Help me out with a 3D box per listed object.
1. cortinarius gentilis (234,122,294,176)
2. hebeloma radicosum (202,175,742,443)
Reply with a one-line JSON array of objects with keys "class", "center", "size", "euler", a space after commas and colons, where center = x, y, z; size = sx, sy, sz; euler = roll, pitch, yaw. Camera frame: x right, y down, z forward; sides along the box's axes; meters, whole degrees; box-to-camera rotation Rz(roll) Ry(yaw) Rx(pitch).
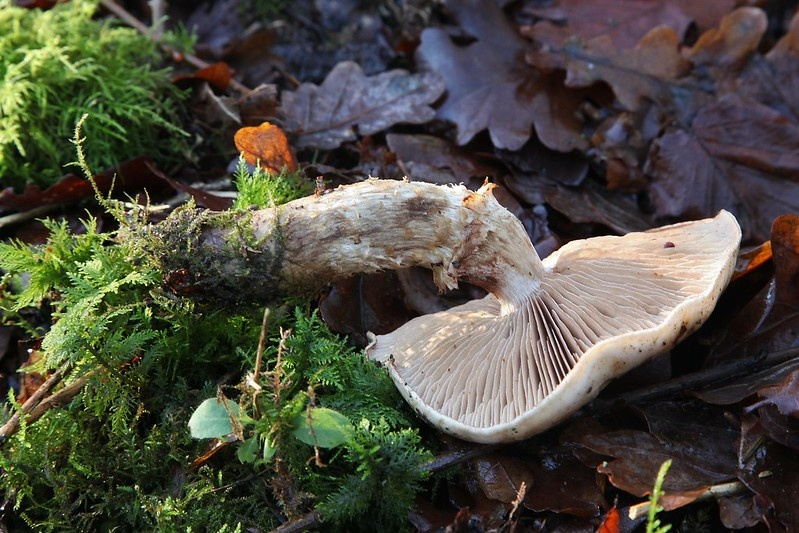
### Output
[{"class": "cortinarius gentilis", "center": [-0.575, -0.513, 3.348], "size": [0.225, 0.237, 0.166], "euler": [24, 61, 17]}, {"class": "hebeloma radicosum", "center": [0.381, 0.158, 2.995], "size": [1.977, 0.554, 0.902], "euler": [-1, 57, 1]}]
